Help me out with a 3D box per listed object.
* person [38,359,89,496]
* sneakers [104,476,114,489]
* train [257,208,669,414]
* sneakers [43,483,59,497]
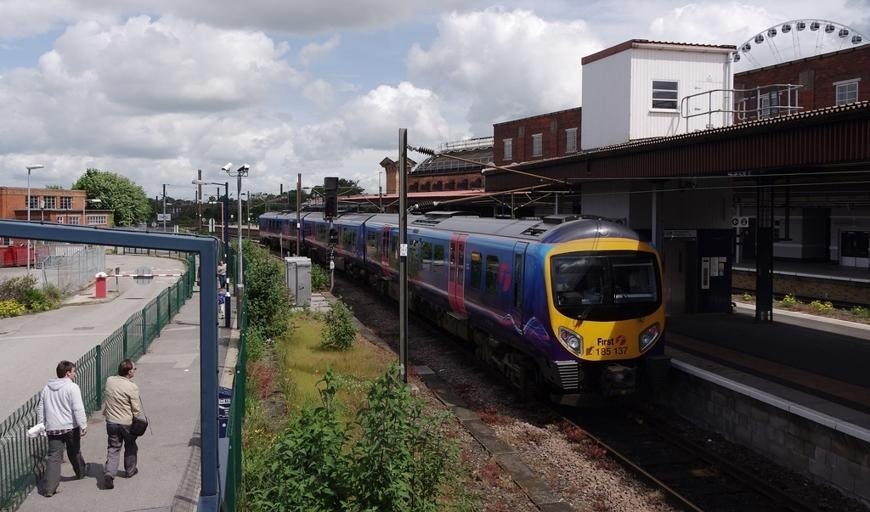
[{"bbox_3d":[-7.895,3.640,13.573,0.909,2.830,0.675,-7,16,-31],"label":"person"},{"bbox_3d":[-6.946,4.804,13.714,0.141,0.346,0.146,1,4,-8],"label":"sneakers"},{"bbox_3d":[1.900,0.765,21.127,3.296,5.476,12.124,-7,16,-31],"label":"train"},{"bbox_3d":[-8.139,4.973,13.710,0.143,0.191,0.433,1,7,-9],"label":"sneakers"}]
